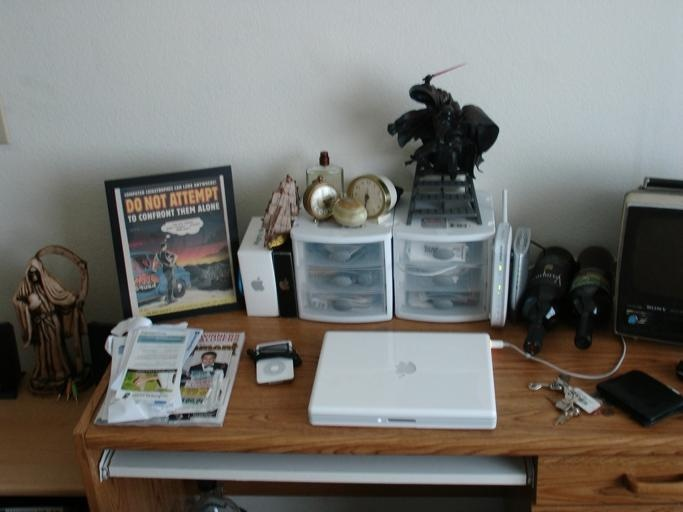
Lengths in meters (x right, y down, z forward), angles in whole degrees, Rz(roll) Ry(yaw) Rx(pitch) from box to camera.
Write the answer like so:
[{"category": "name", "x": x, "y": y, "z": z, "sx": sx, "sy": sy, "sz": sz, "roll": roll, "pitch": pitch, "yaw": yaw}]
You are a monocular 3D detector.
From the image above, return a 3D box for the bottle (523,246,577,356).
[{"category": "bottle", "x": 0.643, "y": 0.129, "z": 1.742, "sx": 0.115, "sy": 0.140, "sz": 0.411, "roll": 4, "pitch": 38, "yaw": 27}]

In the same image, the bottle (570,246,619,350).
[{"category": "bottle", "x": 0.707, "y": 0.138, "z": 1.726, "sx": 0.101, "sy": 0.287, "sz": 0.174, "roll": 10, "pitch": 30, "yaw": 17}]

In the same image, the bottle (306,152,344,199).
[{"category": "bottle", "x": -0.045, "y": -0.257, "z": 1.805, "sx": 0.101, "sy": 0.143, "sz": 0.092, "roll": 14, "pitch": 36, "yaw": 20}]

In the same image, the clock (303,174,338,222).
[{"category": "clock", "x": -0.062, "y": -0.171, "z": 1.747, "sx": 0.128, "sy": 0.177, "sz": 0.065, "roll": -2, "pitch": 8, "yaw": -14}]

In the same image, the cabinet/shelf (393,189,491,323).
[{"category": "cabinet/shelf", "x": 0.316, "y": 0.009, "z": 1.790, "sx": 0.296, "sy": 0.348, "sz": 0.241, "roll": -1, "pitch": 16, "yaw": 13}]

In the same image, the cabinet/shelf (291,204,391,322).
[{"category": "cabinet/shelf", "x": 0.056, "y": 0.063, "z": 1.882, "sx": 0.360, "sy": 0.394, "sz": 0.291, "roll": 1, "pitch": 27, "yaw": 7}]

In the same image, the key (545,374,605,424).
[{"category": "key", "x": 0.585, "y": 0.359, "z": 1.481, "sx": 0.089, "sy": 0.031, "sz": 0.093, "roll": -20, "pitch": 28, "yaw": -8}]

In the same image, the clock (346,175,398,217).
[{"category": "clock", "x": 0.100, "y": -0.185, "z": 1.760, "sx": 0.163, "sy": 0.127, "sz": 0.115, "roll": -6, "pitch": 16, "yaw": -6}]

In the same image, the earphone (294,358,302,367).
[{"category": "earphone", "x": -0.122, "y": 0.299, "z": 1.615, "sx": 0.018, "sy": 0.020, "sz": 0.006, "roll": 10, "pitch": -19, "yaw": -7}]

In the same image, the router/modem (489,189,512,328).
[{"category": "router/modem", "x": 0.484, "y": -0.007, "z": 1.759, "sx": 0.057, "sy": 0.391, "sz": 0.267, "roll": 1, "pitch": 16, "yaw": 18}]
